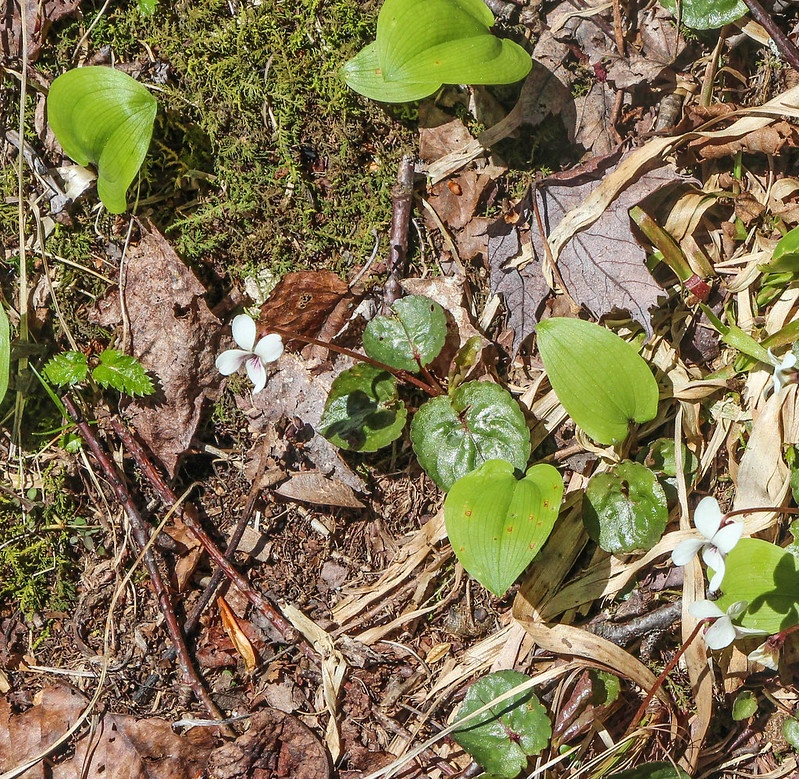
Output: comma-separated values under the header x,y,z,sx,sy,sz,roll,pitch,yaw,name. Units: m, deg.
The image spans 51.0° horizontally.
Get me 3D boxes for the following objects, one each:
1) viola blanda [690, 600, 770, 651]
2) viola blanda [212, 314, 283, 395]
x,y,z,sx,sy,sz,roll,pitch,yaw,name
0.993,0.718,2.605,0.175,0.301,0.093,-11,88,31,viola blanda
-0.464,-0.131,2.725,0.208,0.081,0.263,-10,97,6,viola blanda
